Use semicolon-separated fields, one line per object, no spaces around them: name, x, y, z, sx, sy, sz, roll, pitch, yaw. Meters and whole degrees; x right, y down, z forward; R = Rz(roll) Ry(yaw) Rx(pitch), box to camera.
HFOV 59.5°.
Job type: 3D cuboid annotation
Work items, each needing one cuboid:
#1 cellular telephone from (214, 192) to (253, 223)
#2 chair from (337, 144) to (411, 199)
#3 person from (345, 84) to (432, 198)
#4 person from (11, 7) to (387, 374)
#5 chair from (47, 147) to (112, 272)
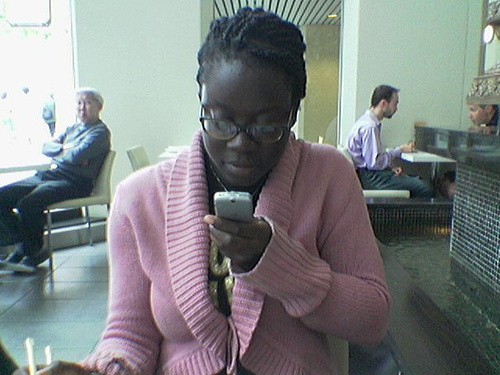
cellular telephone;-0.043;0.045;1.189;0.101;0.106;0.064;-4;38;-5
chair;1.163;-0.161;4.006;0.530;0.797;0.492;-2;7;1
person;1.701;-0.354;5.297;0.930;1.769;0.714;0;11;14
person;-0.006;0.172;1.659;1.064;1.588;0.952;0;4;-2
chair;-1.889;0.155;4.799;0.652;1.187;0.602;-8;13;-39
